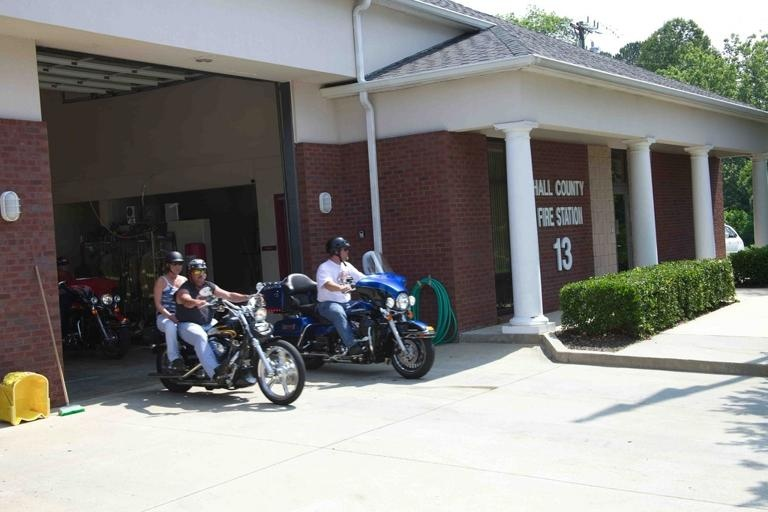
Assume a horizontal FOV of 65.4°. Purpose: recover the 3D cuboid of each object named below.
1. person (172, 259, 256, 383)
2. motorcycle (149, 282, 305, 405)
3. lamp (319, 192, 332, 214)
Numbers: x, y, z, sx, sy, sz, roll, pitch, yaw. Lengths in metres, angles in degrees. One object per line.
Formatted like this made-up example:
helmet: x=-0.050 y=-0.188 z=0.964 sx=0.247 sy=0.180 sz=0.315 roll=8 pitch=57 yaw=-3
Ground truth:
person: x=-2.761 y=0.966 z=9.083 sx=2.125 sy=1.554 sz=0.758 roll=-4 pitch=-1 yaw=30
motorcycle: x=-2.534 y=1.389 z=9.194 sx=2.840 sy=1.600 sz=1.229 roll=-2 pitch=-4 yaw=28
lamp: x=-1.303 y=-1.160 z=13.121 sx=0.091 sy=0.480 sz=0.385 roll=1 pitch=7 yaw=37
